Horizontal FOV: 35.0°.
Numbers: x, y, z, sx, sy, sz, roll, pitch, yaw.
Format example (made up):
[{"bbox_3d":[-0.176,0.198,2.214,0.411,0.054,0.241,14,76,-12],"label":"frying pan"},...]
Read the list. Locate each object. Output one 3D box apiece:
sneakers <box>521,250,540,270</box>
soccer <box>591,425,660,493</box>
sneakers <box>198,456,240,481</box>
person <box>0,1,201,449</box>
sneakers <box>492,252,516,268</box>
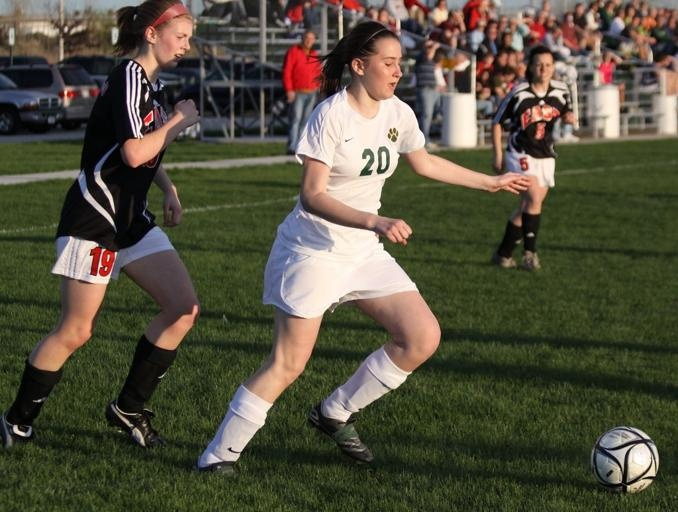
[{"bbox_3d":[1.938,0.038,10.774,0.114,0.171,0.220,-6,8,-32],"label":"sneakers"},{"bbox_3d":[1.725,1.192,6.565,0.331,0.371,0.349,-1,7,-16],"label":"soccer"},{"bbox_3d":[-0.741,1.313,6.666,0.252,0.129,0.099,6,3,-3],"label":"sneakers"},{"bbox_3d":[-1.436,-0.187,6.778,1.104,2.819,0.543,1,12,-11],"label":"person"},{"bbox_3d":[1.672,0.058,10.856,0.212,0.101,0.115,16,18,21],"label":"sneakers"}]
